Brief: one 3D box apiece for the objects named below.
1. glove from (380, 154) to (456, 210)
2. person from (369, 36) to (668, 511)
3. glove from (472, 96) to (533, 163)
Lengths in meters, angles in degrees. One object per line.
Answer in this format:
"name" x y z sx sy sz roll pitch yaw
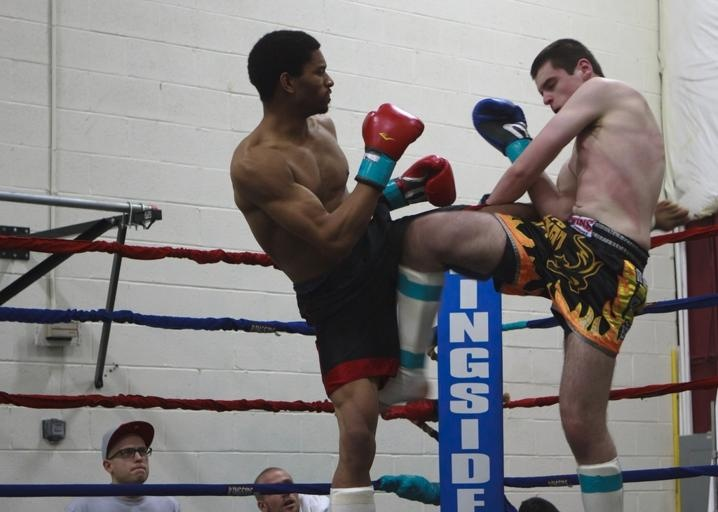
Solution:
"glove" 0.323 -0.364 7.152 0.338 0.170 0.252 -14 25 20
"person" 0.854 0.165 6.895 1.198 2.116 0.316 1 -5 14
"glove" 0.750 -0.665 7.253 0.391 0.215 0.172 43 7 4
